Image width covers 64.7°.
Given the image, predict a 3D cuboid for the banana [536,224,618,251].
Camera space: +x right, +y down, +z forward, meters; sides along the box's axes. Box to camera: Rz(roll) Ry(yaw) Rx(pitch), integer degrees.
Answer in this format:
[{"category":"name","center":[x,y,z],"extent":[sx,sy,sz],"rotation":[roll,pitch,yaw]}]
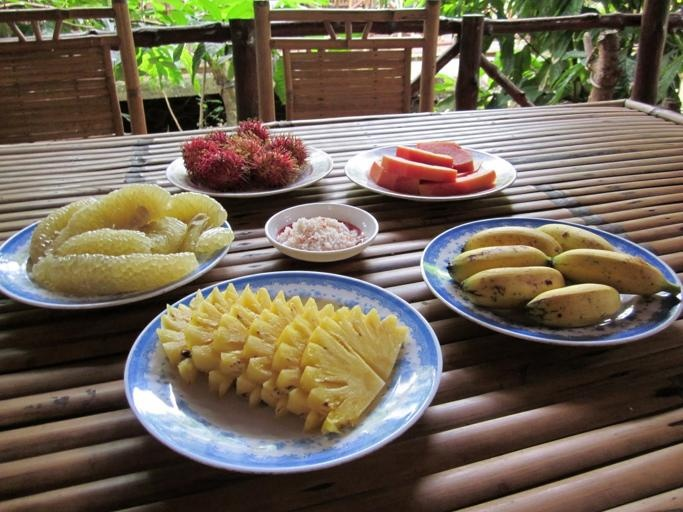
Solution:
[{"category":"banana","center":[0.379,-0.040,0.883],"extent":[0.134,0.035,0.128],"rotation":[-5,13,-26]}]

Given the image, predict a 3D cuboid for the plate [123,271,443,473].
[{"category":"plate","center":[-0.070,0.130,0.687],"extent":[0.350,0.088,0.357],"rotation":[24,35,39]}]

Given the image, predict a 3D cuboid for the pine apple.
[{"category":"pine apple","center":[-0.082,0.123,0.693],"extent":[0.294,0.076,0.169],"rotation":[6,17,18]}]

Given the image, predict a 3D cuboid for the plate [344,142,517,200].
[{"category":"plate","center":[0.191,-0.179,1.172],"extent":[0.364,0.057,0.287],"rotation":[0,26,0]}]

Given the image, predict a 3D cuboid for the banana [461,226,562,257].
[{"category":"banana","center":[0.260,-0.023,0.830],"extent":[0.141,0.033,0.053],"rotation":[1,10,10]}]

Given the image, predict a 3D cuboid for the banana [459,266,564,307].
[{"category":"banana","center":[0.232,0.039,0.771],"extent":[0.144,0.044,0.055],"rotation":[-8,3,5]}]

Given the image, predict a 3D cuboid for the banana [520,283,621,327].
[{"category":"banana","center":[0.309,0.068,0.721],"extent":[0.134,0.048,0.043],"rotation":[-6,59,-4]}]

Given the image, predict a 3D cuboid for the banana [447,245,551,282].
[{"category":"banana","center":[0.223,0.004,0.802],"extent":[0.147,0.045,0.055],"rotation":[-9,12,2]}]

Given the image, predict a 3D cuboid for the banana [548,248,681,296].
[{"category":"banana","center":[0.374,0.007,0.808],"extent":[0.160,0.060,0.152],"rotation":[-6,13,-25]}]

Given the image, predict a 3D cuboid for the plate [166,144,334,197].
[{"category":"plate","center":[-0.186,-0.176,1.168],"extent":[0.360,0.041,0.242],"rotation":[-7,27,-15]}]

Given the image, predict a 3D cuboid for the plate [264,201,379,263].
[{"category":"plate","center":[-0.042,-0.044,0.973],"extent":[0.199,0.058,0.212],"rotation":[-14,30,-26]}]
